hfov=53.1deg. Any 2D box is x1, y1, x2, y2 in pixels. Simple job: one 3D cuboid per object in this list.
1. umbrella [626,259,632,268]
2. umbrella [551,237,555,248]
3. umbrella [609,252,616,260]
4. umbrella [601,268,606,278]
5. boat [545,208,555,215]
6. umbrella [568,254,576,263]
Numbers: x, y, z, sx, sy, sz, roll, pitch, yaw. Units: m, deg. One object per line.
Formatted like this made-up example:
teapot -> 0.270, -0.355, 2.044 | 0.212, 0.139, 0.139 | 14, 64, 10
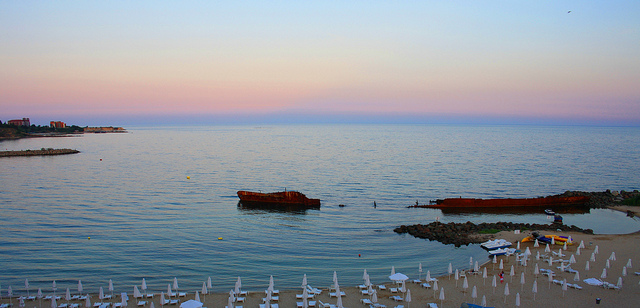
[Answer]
umbrella -> 80.354, 28.510, 166.949 | 1.048, 2.192, 1.823 | 8, 15, 43
umbrella -> 62.738, 23.561, 173.207 | 0.724, 2.183, 1.381 | 4, 13, 28
umbrella -> 76.969, 26.866, 168.909 | 1.634, 1.996, 0.798 | -8, 13, -26
umbrella -> 72.807, 30.695, 164.974 | 0.984, 2.351, 2.329 | 3, 11, 27
boat -> 69.386, 17.384, 193.874 | 2.521, 1.273, 2.291 | 0, 9, 10
umbrella -> 65.938, 27.501, 168.099 | 1.345, 1.910, 1.418 | 5, 13, 35
